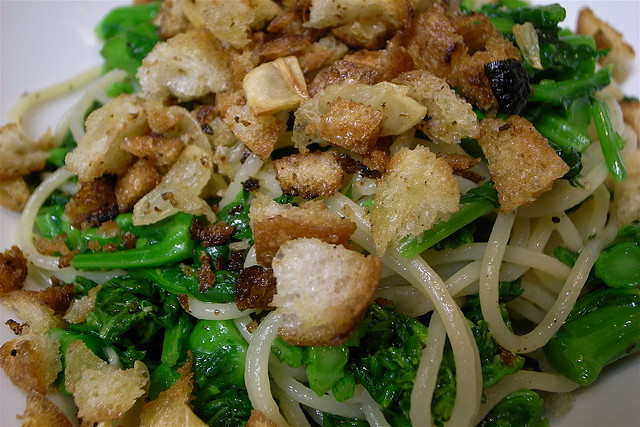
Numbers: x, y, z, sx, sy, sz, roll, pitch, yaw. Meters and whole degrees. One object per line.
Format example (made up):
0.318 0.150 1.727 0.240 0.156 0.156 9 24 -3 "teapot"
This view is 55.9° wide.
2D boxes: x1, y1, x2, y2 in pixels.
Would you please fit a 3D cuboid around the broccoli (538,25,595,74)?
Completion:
1.521 -0.968 3.615 0.303 0.095 0.317 7 74 -14 "broccoli"

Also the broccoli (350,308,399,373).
0.293 0.663 3.224 0.269 0.294 0.120 4 13 -12 "broccoli"

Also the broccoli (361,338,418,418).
0.401 0.853 3.232 0.269 0.280 0.330 5 52 35 "broccoli"

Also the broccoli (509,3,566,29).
1.344 -1.208 3.710 0.310 0.096 0.191 -17 42 18 "broccoli"
